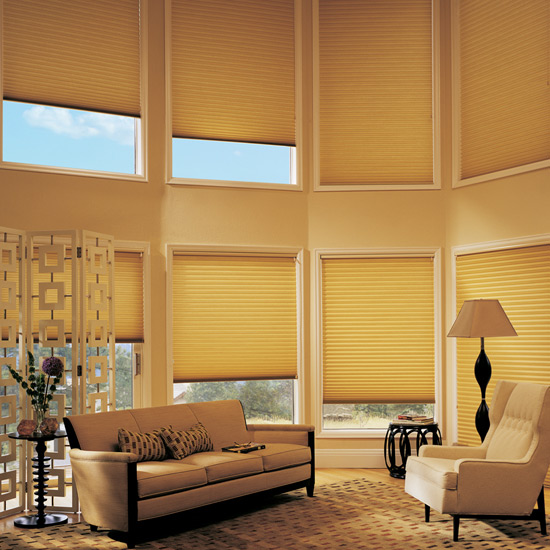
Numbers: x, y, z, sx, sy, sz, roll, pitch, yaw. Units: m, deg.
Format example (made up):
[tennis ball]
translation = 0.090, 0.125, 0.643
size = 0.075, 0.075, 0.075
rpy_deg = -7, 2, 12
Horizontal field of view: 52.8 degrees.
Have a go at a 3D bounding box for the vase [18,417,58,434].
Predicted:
[vase]
translation = -1.638, 1.040, 3.822
size = 0.233, 0.112, 0.199
rpy_deg = -3, -9, 20

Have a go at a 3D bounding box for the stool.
[stool]
translation = 1.358, 1.646, 5.497
size = 0.553, 0.594, 0.588
rpy_deg = 3, -6, -23

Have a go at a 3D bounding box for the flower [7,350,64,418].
[flower]
translation = -1.807, 0.832, 4.164
size = 0.395, 0.517, 0.702
rpy_deg = 4, -9, -25
